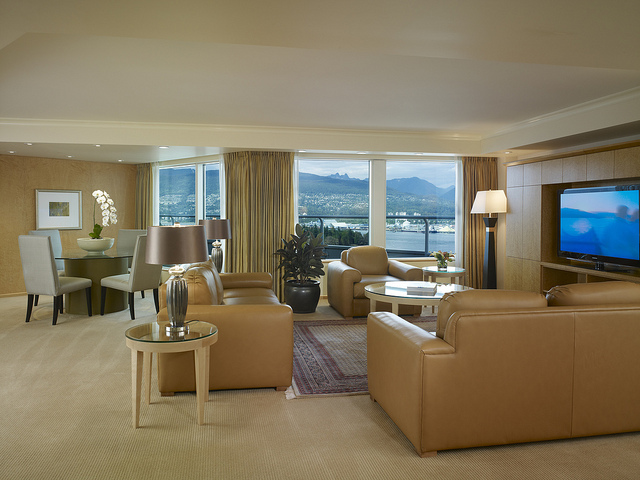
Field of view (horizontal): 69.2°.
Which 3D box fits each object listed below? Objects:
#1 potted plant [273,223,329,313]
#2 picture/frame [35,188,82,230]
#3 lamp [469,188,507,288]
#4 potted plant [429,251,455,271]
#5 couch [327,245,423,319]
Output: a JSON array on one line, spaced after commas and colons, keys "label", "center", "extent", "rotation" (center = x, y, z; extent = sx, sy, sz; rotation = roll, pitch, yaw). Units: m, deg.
[{"label": "potted plant", "center": [-0.255, 0.447, 6.732], "extent": [0.841, 1.199, 0.735], "rotation": [3, 6, 43]}, {"label": "picture/frame", "center": [-4.582, -0.553, 8.085], "extent": [0.777, 0.748, 0.051], "rotation": [0, -1, -39]}, {"label": "lamp", "center": [2.749, 0.008, 7.568], "extent": [0.529, 1.634, 0.683], "rotation": [3, 9, 22]}, {"label": "potted plant", "center": [1.832, 0.296, 6.839], "extent": [0.342, 0.286, 0.318], "rotation": [2, -4, -8]}, {"label": "couch", "center": [0.684, 0.529, 6.612], "extent": [1.141, 0.830, 1.037], "rotation": [1, -3, -13]}]
